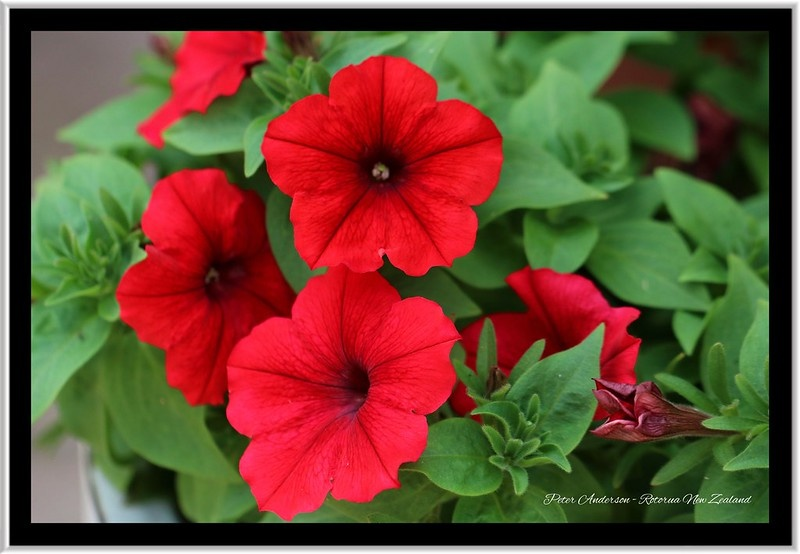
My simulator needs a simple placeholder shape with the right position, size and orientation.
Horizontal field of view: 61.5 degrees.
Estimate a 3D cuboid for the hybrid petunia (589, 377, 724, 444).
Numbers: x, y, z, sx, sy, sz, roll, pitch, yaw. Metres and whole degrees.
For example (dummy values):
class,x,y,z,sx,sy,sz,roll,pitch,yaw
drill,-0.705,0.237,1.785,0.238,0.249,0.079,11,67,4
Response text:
class,x,y,z,sx,sy,sz,roll,pitch,yaw
hybrid petunia,0.323,0.174,0.848,0.136,0.061,0.081,8,3,-10
